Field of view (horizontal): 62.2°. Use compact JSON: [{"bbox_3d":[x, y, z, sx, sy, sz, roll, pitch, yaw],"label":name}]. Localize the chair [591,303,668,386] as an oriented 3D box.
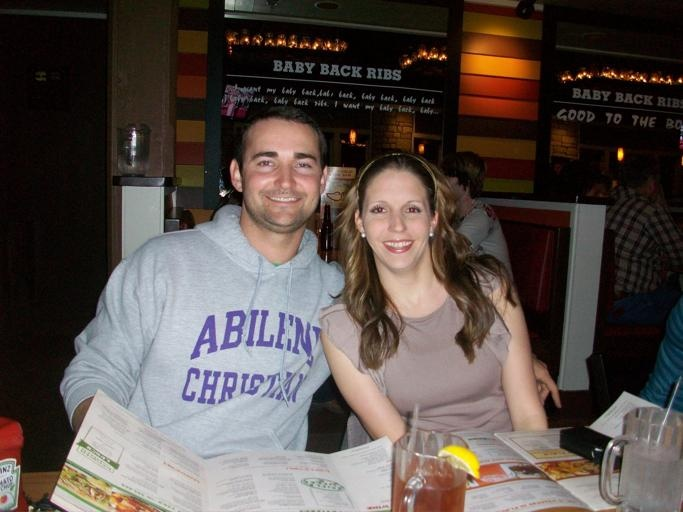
[{"bbox_3d":[1.818,0.558,3.561,0.592,0.411,0.319,1,4,-4],"label":"chair"}]
